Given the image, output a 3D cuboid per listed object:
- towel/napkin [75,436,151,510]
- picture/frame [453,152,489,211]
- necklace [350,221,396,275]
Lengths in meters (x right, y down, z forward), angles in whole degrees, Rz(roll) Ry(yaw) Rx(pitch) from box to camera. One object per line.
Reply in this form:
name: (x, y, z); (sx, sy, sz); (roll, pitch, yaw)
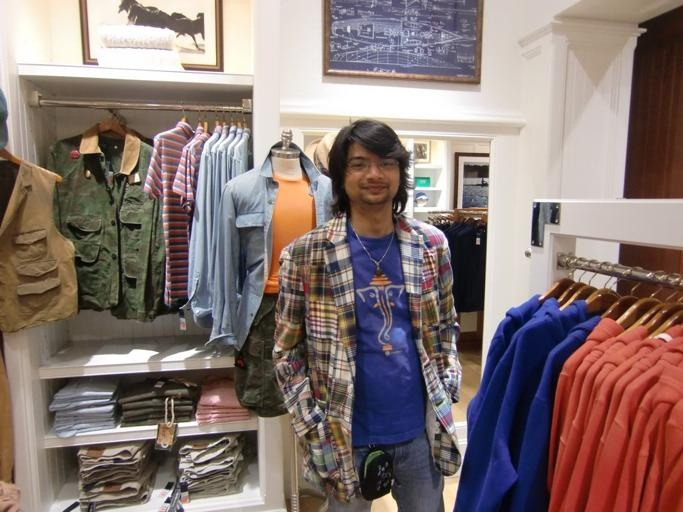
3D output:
towel/napkin: (-1.186, 1.187, 2.679); (0.358, 0.154, 0.288); (0, 3, -24)
picture/frame: (0.844, -0.504, 3.249); (0.310, 0.425, 0.016); (-3, 12, -12)
necklace: (0.133, -0.032, 1.971); (0.141, 0.172, 0.157); (-2, 15, -26)
